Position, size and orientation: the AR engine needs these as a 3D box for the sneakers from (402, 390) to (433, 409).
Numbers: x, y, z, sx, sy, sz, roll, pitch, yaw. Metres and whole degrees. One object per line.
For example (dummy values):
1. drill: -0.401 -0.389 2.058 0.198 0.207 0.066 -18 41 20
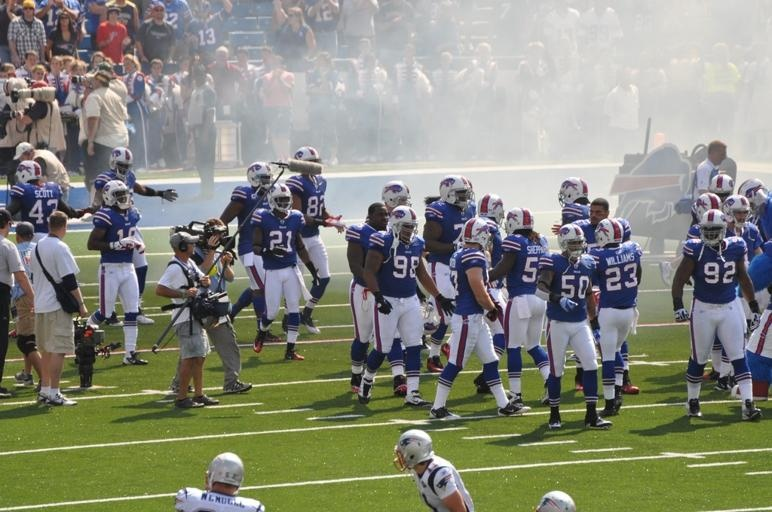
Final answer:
1. sneakers: 0.421 1.961 19.860 0.445 0.224 0.161 1 2 18

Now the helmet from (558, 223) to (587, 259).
1. helmet: 2.543 -0.220 19.217 0.333 0.476 0.440 -4 6 -33

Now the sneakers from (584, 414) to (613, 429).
1. sneakers: 2.841 2.204 19.198 0.394 0.196 0.151 2 19 0

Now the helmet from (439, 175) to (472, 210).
1. helmet: 1.042 -0.949 20.884 0.456 0.462 0.381 -1 8 13

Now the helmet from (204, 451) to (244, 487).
1. helmet: -1.867 2.383 16.487 0.323 0.391 0.394 8 8 -16

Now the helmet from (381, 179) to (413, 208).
1. helmet: 0.180 -0.945 21.357 0.433 0.387 0.334 -1 14 0

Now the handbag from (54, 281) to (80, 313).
1. handbag: -4.443 0.533 19.807 0.182 0.344 0.245 -26 31 1

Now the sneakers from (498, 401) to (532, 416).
1. sneakers: 1.754 2.070 19.586 0.471 0.227 0.166 -2 10 -3

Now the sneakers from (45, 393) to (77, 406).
1. sneakers: -4.547 1.986 20.005 0.436 0.189 0.160 1 6 -7

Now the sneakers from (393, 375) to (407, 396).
1. sneakers: 0.199 1.815 20.289 0.172 0.310 0.318 -1 3 -3

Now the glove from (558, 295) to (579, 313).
1. glove: 2.450 0.622 19.078 0.271 0.194 0.150 -2 3 -15

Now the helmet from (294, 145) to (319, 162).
1. helmet: -1.246 -1.628 22.826 0.371 0.218 0.636 -2 3 -4

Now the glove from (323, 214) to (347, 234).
1. glove: -0.813 -0.554 22.740 0.226 0.350 0.474 -7 28 -12

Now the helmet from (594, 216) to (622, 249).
1. helmet: 3.047 -0.323 19.440 0.363 0.373 0.314 5 5 17

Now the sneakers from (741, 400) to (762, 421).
1. sneakers: 4.961 2.091 19.444 0.137 0.203 0.402 -2 -10 -7

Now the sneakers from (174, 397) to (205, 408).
1. sneakers: -2.742 2.016 19.945 0.345 0.149 0.146 2 3 -6

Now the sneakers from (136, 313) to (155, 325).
1. sneakers: -3.925 1.031 23.311 0.324 0.134 0.114 16 31 -3

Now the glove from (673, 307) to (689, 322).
1. glove: 4.060 0.747 19.499 0.076 0.225 0.212 5 -17 -39

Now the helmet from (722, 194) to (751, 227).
1. helmet: 4.957 -0.652 20.167 0.331 0.432 0.395 -14 16 -41

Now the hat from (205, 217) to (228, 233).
1. hat: -2.388 -0.445 20.100 0.268 0.173 0.310 -2 3 -4

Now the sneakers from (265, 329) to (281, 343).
1. sneakers: -1.789 1.254 22.446 0.118 0.163 0.325 0 -5 -44

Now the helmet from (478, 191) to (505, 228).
1. helmet: 1.593 -0.706 20.828 0.307 0.373 0.440 9 3 25

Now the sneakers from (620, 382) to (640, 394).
1. sneakers: 3.476 1.871 20.323 0.231 0.129 0.238 -11 -32 -1

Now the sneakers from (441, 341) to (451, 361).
1. sneakers: 0.888 1.397 21.813 0.091 0.262 0.432 -2 3 -6

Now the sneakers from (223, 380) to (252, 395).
1. sneakers: -2.106 1.815 20.475 0.441 0.219 0.163 -3 25 -6

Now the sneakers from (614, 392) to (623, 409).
1. sneakers: 3.252 1.961 19.895 0.078 0.276 0.114 -1 -12 -10

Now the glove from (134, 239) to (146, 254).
1. glove: -3.800 -0.166 22.042 0.182 0.265 0.150 -5 5 -1

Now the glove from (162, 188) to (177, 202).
1. glove: -3.772 -1.086 24.890 0.097 0.219 0.393 12 -4 35

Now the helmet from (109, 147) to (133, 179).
1. helmet: -4.100 -1.501 22.369 0.337 0.433 0.459 9 17 -38

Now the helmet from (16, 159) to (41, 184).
1. helmet: -5.546 -1.332 22.197 0.393 0.356 0.295 -5 0 18

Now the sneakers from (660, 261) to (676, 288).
1. sneakers: 4.328 0.266 21.987 0.170 0.428 0.141 -7 24 15
